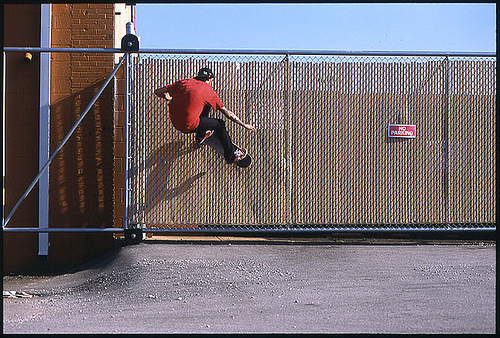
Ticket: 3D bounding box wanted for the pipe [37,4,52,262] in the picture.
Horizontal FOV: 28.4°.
[{"bbox_3d":[-3.802,-0.820,18.315,0.414,3.703,0.578,-1,11,-4],"label":"pipe"}]
